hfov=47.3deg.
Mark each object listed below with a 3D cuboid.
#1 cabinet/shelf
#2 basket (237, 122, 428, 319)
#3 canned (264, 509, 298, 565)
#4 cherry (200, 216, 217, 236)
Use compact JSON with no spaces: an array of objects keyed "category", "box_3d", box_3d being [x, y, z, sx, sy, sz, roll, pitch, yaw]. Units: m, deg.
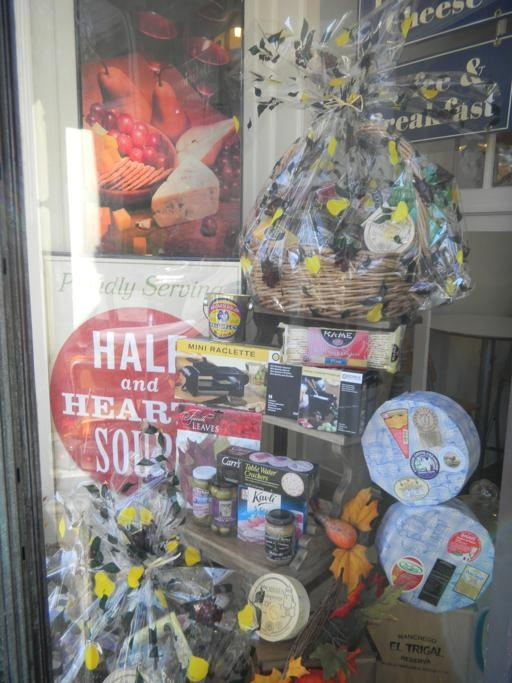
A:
[{"category":"cabinet/shelf","box_3d":[0.074,0.186,1.056,0.359,0.470,0.180,8,18,28]},{"category":"basket","box_3d":[0.118,-0.188,0.955,0.278,0.302,0.100,10,19,34]},{"category":"canned","box_3d":[0.045,0.338,1.038,0.052,0.094,0.031,12,16,42]},{"category":"cherry","box_3d":[-0.084,-0.206,1.044,0.028,0.033,0.033,-2,7,-1]}]
